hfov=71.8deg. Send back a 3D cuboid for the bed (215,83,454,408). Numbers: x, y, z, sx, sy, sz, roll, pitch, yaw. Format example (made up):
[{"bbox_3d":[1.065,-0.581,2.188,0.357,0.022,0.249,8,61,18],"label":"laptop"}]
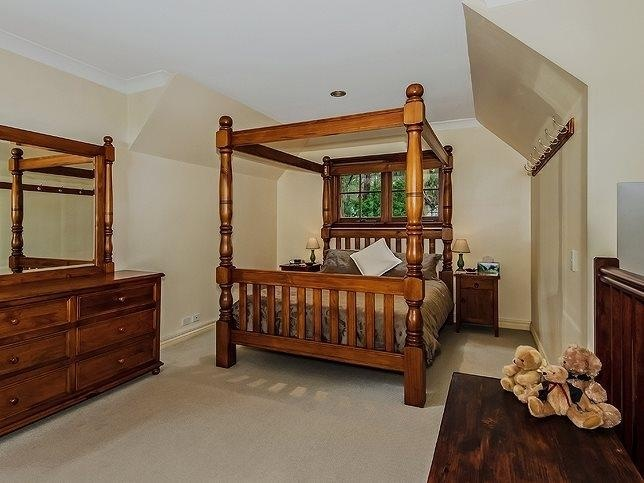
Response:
[{"bbox_3d":[0.166,-0.116,5.332,2.667,2.835,2.968,-1,-1,23],"label":"bed"}]

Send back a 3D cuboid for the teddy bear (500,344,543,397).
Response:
[{"bbox_3d":[1.052,0.702,2.498,0.235,0.317,0.245,7,-8,-8],"label":"teddy bear"}]

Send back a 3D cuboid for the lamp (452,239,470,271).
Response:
[{"bbox_3d":[1.747,0.154,5.606,0.202,0.401,0.404,4,11,19],"label":"lamp"}]

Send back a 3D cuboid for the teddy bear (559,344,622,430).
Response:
[{"bbox_3d":[1.349,0.741,2.275,0.226,0.343,0.298,-3,13,-15],"label":"teddy bear"}]

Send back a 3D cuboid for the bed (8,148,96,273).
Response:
[{"bbox_3d":[-2.351,-0.299,3.835,0.149,1.017,0.757,6,12,27],"label":"bed"}]

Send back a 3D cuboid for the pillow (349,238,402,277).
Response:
[{"bbox_3d":[0.639,0.215,5.347,0.404,0.101,0.418,-33,43,-8],"label":"pillow"}]

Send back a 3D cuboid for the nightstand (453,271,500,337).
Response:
[{"bbox_3d":[1.887,0.746,5.591,0.685,1.041,0.647,0,-2,23],"label":"nightstand"}]
